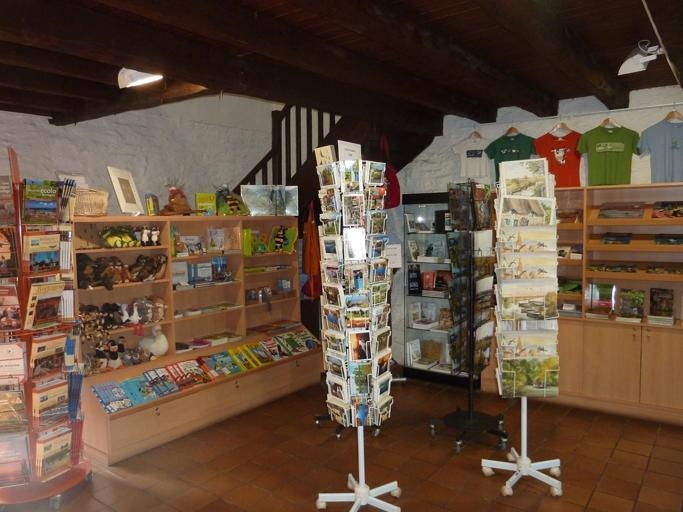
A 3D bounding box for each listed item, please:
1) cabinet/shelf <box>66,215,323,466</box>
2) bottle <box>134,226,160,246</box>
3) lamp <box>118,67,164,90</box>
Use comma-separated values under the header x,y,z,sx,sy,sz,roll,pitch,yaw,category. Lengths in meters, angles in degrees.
x,y,z,sx,sy,sz,roll,pitch,yaw,category
-1.622,0.767,6.262,0.920,2.407,3.143,6,8,39,cabinet/shelf
-2.233,-0.238,5.836,0.256,0.209,0.223,7,7,34,bottle
-2.094,-1.862,5.172,0.257,0.188,0.753,-9,13,-39,lamp
